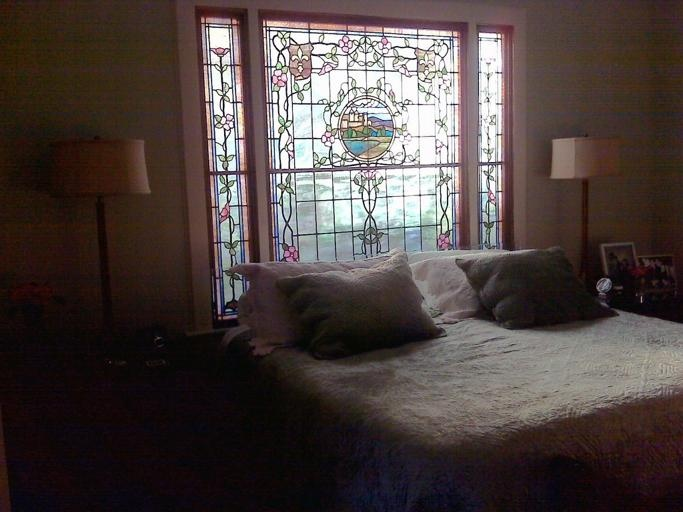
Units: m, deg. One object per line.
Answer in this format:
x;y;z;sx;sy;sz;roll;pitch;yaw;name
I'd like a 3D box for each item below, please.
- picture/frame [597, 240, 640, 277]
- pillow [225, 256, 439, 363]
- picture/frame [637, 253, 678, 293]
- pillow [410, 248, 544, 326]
1.582;0.017;3.316;0.228;0.194;0.030;-2;-20;-7;picture/frame
-0.076;0.116;2.244;0.472;0.167;0.525;-5;16;-15;pillow
1.763;0.092;3.266;0.240;0.222;0.024;1;4;-8;picture/frame
0.518;0.138;2.613;0.387;0.106;0.368;-10;28;-11;pillow
